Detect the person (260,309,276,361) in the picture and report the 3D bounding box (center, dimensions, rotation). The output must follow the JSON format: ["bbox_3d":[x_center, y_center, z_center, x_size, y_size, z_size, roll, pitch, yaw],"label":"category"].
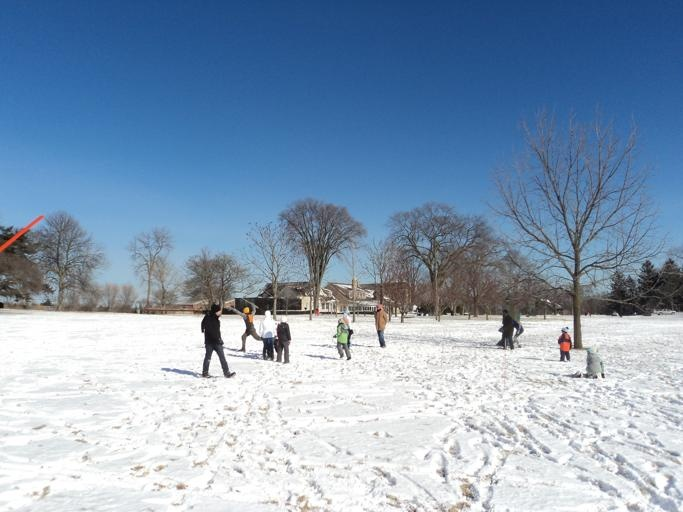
[{"bbox_3d":[-2.387,2.627,16.574,0.465,1.520,0.869,-1,1,-9],"label":"person"}]

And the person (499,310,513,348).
[{"bbox_3d":[6.531,2.882,19.969,0.464,1.589,0.983,0,1,11],"label":"person"}]

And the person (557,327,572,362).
[{"bbox_3d":[7.543,2.899,17.053,0.301,1.074,1.914,0,1,25],"label":"person"}]

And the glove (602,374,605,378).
[{"bbox_3d":[6.896,3.151,13.330,0.056,0.064,0.097,-7,-20,15],"label":"glove"}]

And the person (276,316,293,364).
[{"bbox_3d":[-1.851,2.641,16.174,0.402,1.473,1.074,-1,1,-8],"label":"person"}]

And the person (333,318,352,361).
[{"bbox_3d":[0.059,2.815,17.355,0.661,1.451,0.563,-8,-11,40],"label":"person"}]

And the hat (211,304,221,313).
[{"bbox_3d":[-3.239,1.332,13.016,0.207,0.281,0.276,5,3,-6],"label":"hat"}]

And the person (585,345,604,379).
[{"bbox_3d":[6.990,2.856,13.890,0.447,0.794,1.428,0,1,28],"label":"person"}]
